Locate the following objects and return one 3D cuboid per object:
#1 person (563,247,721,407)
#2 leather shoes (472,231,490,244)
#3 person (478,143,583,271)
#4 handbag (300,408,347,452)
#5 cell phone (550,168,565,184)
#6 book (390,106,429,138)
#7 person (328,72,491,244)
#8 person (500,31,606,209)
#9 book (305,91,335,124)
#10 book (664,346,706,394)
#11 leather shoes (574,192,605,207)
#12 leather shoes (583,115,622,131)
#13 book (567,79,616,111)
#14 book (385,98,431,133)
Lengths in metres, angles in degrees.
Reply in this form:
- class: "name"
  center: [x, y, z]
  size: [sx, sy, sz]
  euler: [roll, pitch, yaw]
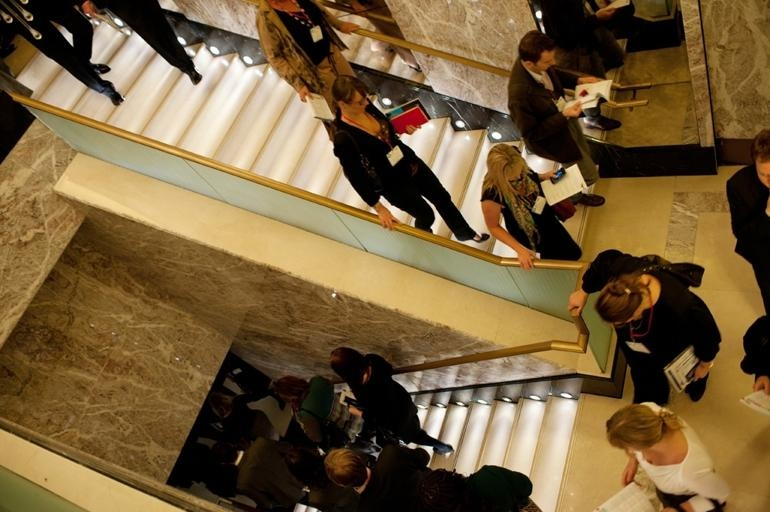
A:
- class: "person"
  center: [2.242, 0.643, 4.426]
  size: [1.036, 2.078, 0.767]
  euler: [6, 59, 37]
- class: "leather shoes"
  center: [0.947, -0.169, 5.150]
  size: [0.186, 0.071, 0.180]
  euler: [8, 0, 1]
- class: "person"
  center: [1.308, -0.400, 4.589]
  size: [0.455, 1.112, 0.585]
  euler: [36, 98, 38]
- class: "handbag"
  center: [-0.642, 1.834, 5.528]
  size: [0.297, 0.510, 0.392]
  euler: [-56, -7, 3]
- class: "cell phone"
  center: [1.542, -0.699, 4.604]
  size: [0.156, 0.037, 0.085]
  euler: [-47, 55, 4]
- class: "book"
  center: [0.206, -1.216, 4.652]
  size: [0.263, 0.261, 0.060]
  euler: [-19, 31, 26]
- class: "person"
  center: [0.104, -0.693, 4.952]
  size: [0.881, 2.167, 0.734]
  euler: [-49, 37, -11]
- class: "person"
  center: [1.738, -1.254, 5.060]
  size: [0.802, 2.174, 0.749]
  euler: [-15, 49, 24]
- class: "book"
  center: [-0.625, -1.333, 4.848]
  size: [0.075, 0.294, 0.288]
  euler: [-51, 23, 4]
- class: "book"
  center: [2.254, 0.835, 3.905]
  size: [0.338, 0.355, 0.098]
  euler: [-30, 20, -24]
- class: "leather shoes"
  center: [1.960, -0.554, 5.134]
  size: [0.419, 0.136, 0.164]
  euler: [2, -5, 9]
- class: "leather shoes"
  center: [2.129, -1.297, 5.118]
  size: [0.378, 0.123, 0.156]
  euler: [5, -7, 10]
- class: "book"
  center: [1.842, -1.379, 4.668]
  size: [0.350, 0.153, 0.377]
  euler: [8, 65, 51]
- class: "book"
  center: [0.238, -1.329, 4.753]
  size: [0.327, 0.330, 0.076]
  euler: [-30, 32, 40]
